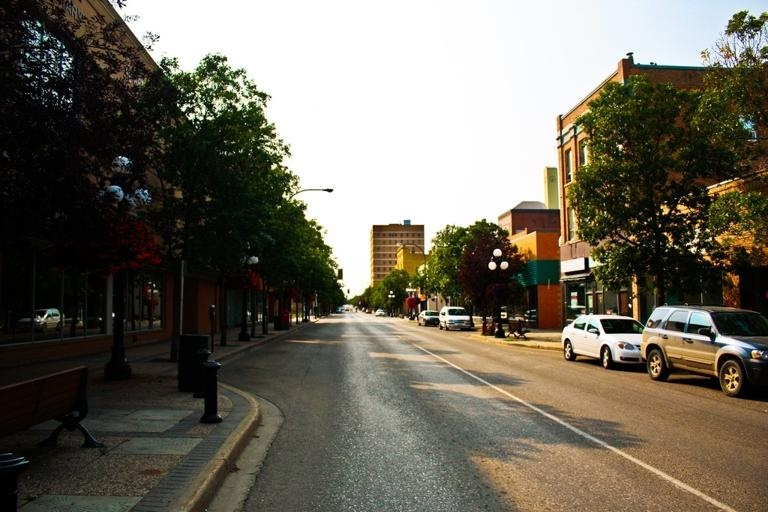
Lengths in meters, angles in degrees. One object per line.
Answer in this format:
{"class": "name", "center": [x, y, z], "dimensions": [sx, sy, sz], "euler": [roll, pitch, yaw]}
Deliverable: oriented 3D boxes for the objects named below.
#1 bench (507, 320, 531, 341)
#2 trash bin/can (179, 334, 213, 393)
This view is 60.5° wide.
{"class": "bench", "center": [7.451, 3.993, 36.024], "dimensions": [1.098, 1.573, 1.395], "euler": [2, -15, -9]}
{"class": "trash bin/can", "center": [-4.917, 2.797, 16.879], "dimensions": [0.797, 1.788, 0.877], "euler": [-2, -2, 28]}
